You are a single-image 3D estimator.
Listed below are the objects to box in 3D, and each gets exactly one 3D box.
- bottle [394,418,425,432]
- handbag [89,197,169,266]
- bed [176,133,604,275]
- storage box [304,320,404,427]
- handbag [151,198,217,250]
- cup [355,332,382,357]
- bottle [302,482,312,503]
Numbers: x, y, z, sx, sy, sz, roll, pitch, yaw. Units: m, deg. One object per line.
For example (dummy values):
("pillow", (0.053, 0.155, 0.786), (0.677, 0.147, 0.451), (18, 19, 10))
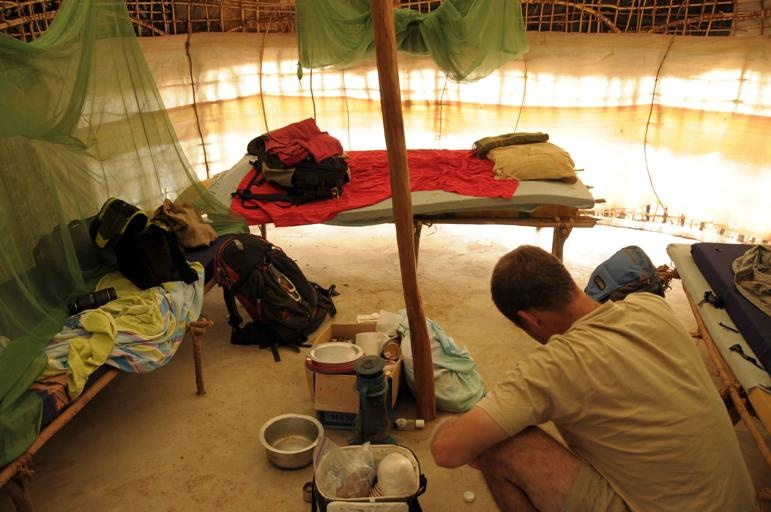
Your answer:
("bottle", (0.151, 1.037, 3.166), (0.142, 0.036, 0.079), (2, 19, 5))
("handbag", (-1.714, -0.201, 3.444), (0.426, 0.429, 0.405), (41, 46, 13))
("bed", (0.201, -0.556, 4.596), (2.837, 0.740, 1.299), (2, 42, 5))
("storage box", (-0.188, 0.773, 3.271), (0.579, 0.458, 0.710), (1, 20, 3))
("handbag", (-1.538, -0.255, 3.931), (0.406, 0.172, 0.340), (32, 24, 10))
("cup", (-0.123, 0.586, 3.427), (0.175, 0.119, 0.111), (12, -24, -36))
("bottle", (-0.413, 1.274, 2.762), (0.063, 0.060, 0.089), (2, 19, 2))
